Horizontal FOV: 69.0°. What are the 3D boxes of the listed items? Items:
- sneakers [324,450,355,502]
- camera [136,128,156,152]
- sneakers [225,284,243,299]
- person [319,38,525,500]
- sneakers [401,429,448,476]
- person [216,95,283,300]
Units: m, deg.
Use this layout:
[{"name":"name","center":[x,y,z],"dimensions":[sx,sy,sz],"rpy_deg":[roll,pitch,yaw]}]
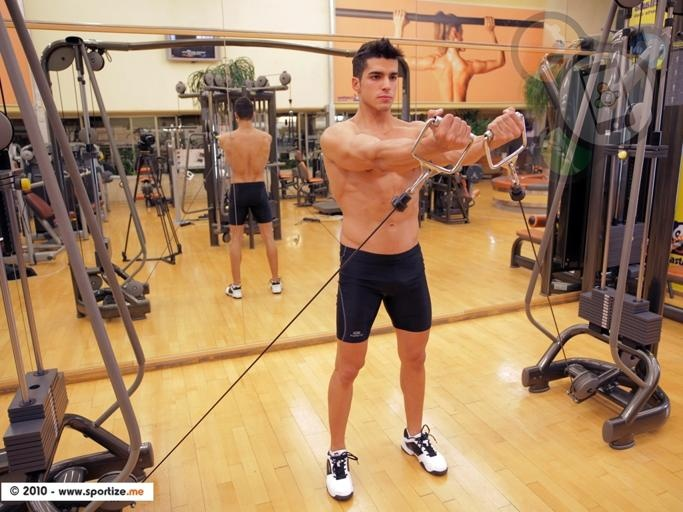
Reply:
[{"name":"sneakers","center":[-0.008,1.013,2.376],"dimensions":[0.145,0.149,0.360],"rpy_deg":[-2,2,-6]},{"name":"camera","center":[-1.698,-1.002,4.301],"dimensions":[0.202,0.222,0.156],"rpy_deg":[7,12,30]},{"name":"sneakers","center":[-0.872,0.260,4.033],"dimensions":[0.079,0.116,0.167],"rpy_deg":[-6,25,-23]},{"name":"person","center":[0.309,0.096,2.119],"dimensions":[0.630,1.962,0.886],"rpy_deg":[-12,17,-38]},{"name":"sneakers","center":[0.410,0.931,2.468],"dimensions":[0.097,0.179,0.291],"rpy_deg":[0,9,-28]},{"name":"person","center":[-0.699,-0.468,3.934],"dimensions":[0.457,1.524,0.545],"rpy_deg":[7,21,30]}]
